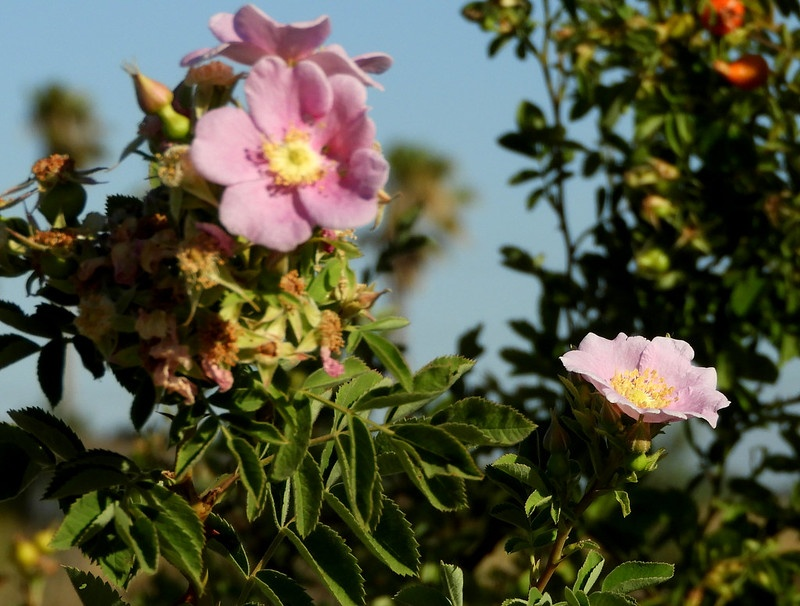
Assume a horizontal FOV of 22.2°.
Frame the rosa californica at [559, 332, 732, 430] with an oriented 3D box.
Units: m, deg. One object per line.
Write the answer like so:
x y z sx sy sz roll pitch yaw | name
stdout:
0.624 0.199 5.279 0.302 0.132 0.296 -14 47 -36 | rosa californica
